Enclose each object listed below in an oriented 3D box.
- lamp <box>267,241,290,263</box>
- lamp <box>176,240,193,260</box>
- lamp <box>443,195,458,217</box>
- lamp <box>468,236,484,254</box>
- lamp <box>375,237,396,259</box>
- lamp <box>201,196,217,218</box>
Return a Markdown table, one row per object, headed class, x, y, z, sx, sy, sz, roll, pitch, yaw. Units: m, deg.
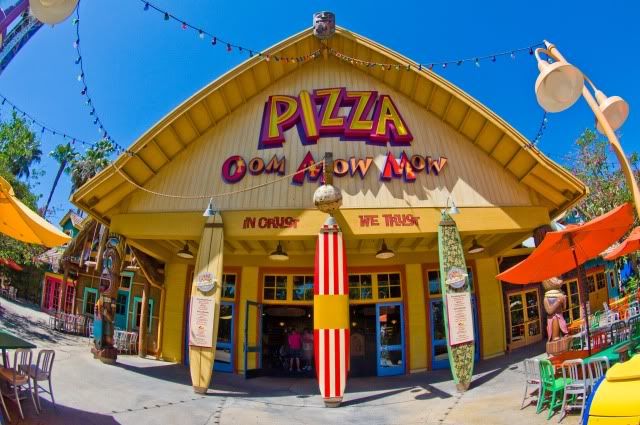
| class | x | y | z | sx | sy | sz | roll | pitch | yaw |
| --- | --- | --- | --- | --- | --- | --- | --- | --- | --- |
| lamp | -1.492 | 1.327 | 15.439 | 0.704 | 0.846 | 0.762 | 6 | -29 | -10 |
| lamp | -5.295 | 1.420 | 16.789 | 0.598 | 0.739 | 0.672 | 2 | -32 | 3 |
| lamp | 4.297 | -0.200 | 14.329 | 0.499 | 0.674 | 0.652 | -4 | -4 | 26 |
| lamp | 5.794 | 1.186 | 16.056 | 0.443 | 0.531 | 0.475 | -25 | -36 | 37 |
| lamp | 2.317 | 1.320 | 15.555 | 0.642 | 0.793 | 0.727 | -3 | -33 | 3 |
| lamp | -3.770 | -0.198 | 14.514 | 0.389 | 0.711 | 0.794 | 3 | -3 | -15 |
